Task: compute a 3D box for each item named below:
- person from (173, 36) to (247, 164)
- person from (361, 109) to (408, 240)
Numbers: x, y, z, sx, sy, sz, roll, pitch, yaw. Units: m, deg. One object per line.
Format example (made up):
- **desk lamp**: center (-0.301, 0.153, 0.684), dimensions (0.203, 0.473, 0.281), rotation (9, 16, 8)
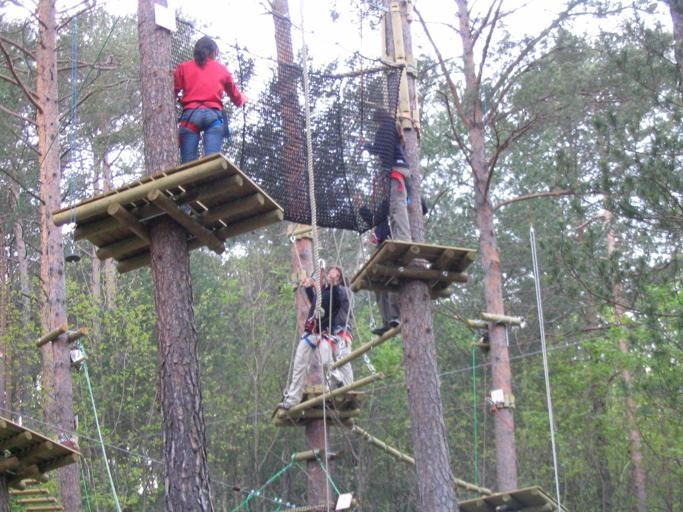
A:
- **person**: center (-2.296, -2.326, 20.203), dimensions (1.218, 3.036, 0.984), rotation (7, -25, -13)
- **person**: center (0.781, -1.473, 21.338), dimensions (0.863, 2.287, 0.668), rotation (-6, -10, 4)
